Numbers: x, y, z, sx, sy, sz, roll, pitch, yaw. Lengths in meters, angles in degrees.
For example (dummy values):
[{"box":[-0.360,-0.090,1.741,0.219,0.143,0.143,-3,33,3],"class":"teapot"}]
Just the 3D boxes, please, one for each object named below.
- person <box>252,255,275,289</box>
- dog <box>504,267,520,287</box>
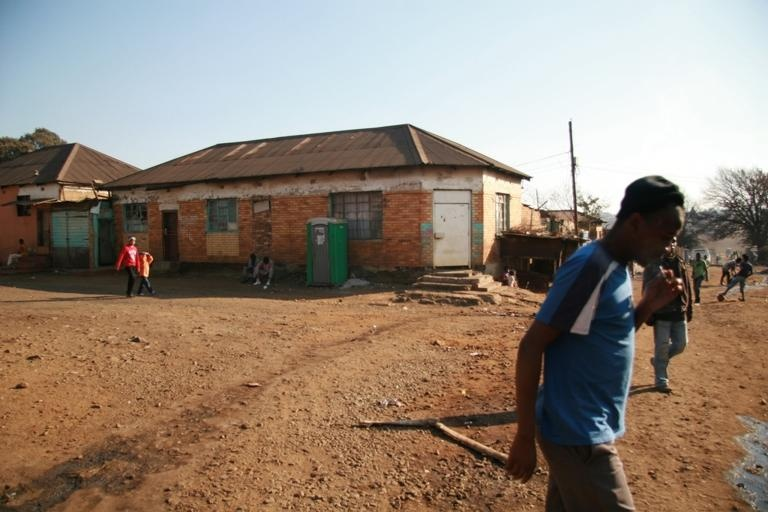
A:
[{"box":[-4.337,0.551,19.007,0.657,1.019,1.274,1,1,-13],"class":"person"},{"box":[4.625,0.818,19.409,0.339,0.877,0.477,-10,20,3],"class":"dog"}]
